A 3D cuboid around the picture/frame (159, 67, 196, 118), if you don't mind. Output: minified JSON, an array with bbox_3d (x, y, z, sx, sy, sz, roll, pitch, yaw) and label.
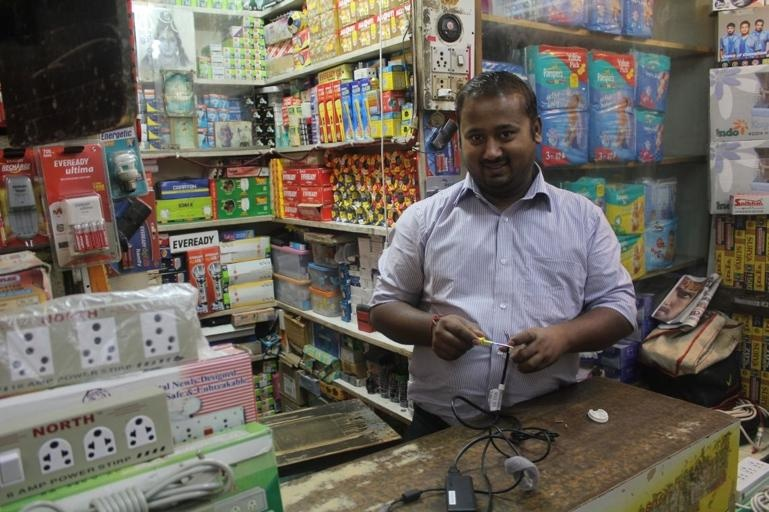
[{"bbox_3d":[-1.568,-1.228,4.074,0.349,0.443,0.046,-13,19,-36],"label":"picture/frame"}]

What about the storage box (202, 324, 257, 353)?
[{"bbox_3d":[-1.201,0.626,4.242,0.372,0.221,0.250,-8,14,-15],"label":"storage box"}]

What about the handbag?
[{"bbox_3d":[1.816,0.566,3.177,0.545,0.232,0.555,21,51,41],"label":"handbag"}]

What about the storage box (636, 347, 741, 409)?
[{"bbox_3d":[1.768,0.731,3.218,0.405,0.145,0.387,-10,8,-36],"label":"storage box"}]

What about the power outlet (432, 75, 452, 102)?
[{"bbox_3d":[0.296,-0.880,2.834,0.121,0.113,0.063,-6,17,-23],"label":"power outlet"}]

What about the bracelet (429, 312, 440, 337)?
[{"bbox_3d":[0.178,0.239,1.942,0.023,0.063,0.045,21,-18,2],"label":"bracelet"}]

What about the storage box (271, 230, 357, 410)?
[{"bbox_3d":[-0.506,0.468,4.014,0.426,1.055,1.271,-9,16,-28],"label":"storage box"}]

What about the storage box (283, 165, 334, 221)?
[{"bbox_3d":[-0.540,-0.468,3.957,0.389,0.263,0.240,12,21,42],"label":"storage box"}]

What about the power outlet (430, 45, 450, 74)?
[{"bbox_3d":[0.277,-1.015,2.786,0.142,0.131,0.022,-9,14,-21],"label":"power outlet"}]

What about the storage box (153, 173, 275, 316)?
[{"bbox_3d":[-1.233,-0.083,3.916,1.212,1.127,0.405,1,-2,-29],"label":"storage box"}]
